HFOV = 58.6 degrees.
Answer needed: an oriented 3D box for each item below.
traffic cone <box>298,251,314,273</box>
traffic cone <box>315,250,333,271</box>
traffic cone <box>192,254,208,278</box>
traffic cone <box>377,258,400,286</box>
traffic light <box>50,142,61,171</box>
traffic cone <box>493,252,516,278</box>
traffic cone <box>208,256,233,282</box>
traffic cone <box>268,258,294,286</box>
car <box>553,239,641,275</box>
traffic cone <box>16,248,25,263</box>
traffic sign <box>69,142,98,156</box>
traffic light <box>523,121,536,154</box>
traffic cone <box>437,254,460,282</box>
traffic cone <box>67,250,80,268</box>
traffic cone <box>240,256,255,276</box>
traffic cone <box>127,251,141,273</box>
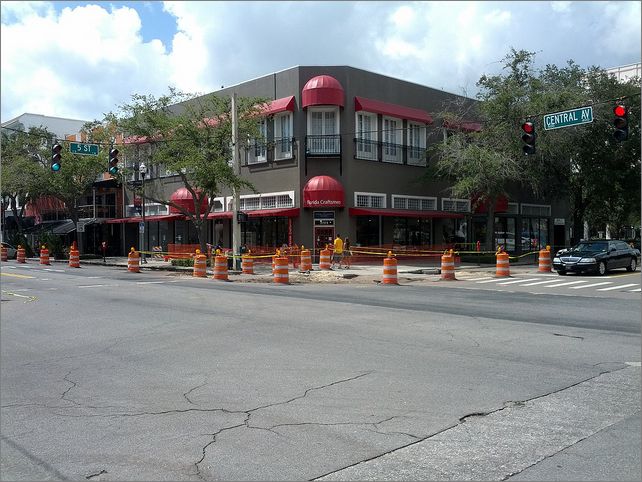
[{"bbox_3d":[-0.794,1.062,28.692,0.862,1.111,0.874,0,-3,-15],"label":"traffic cone"},{"bbox_3d":[0.202,0.964,29.212,0.781,1.125,0.871,-2,2,-12],"label":"traffic cone"},{"bbox_3d":[-5.581,1.175,26.552,0.754,1.017,0.513,2,3,38],"label":"traffic cone"},{"bbox_3d":[2.718,1.189,22.372,0.561,1.033,0.834,0,2,6],"label":"traffic cone"},{"bbox_3d":[-11.345,-3.596,24.456,0.331,1.176,1.195,-1,2,-28],"label":"traffic light"},{"bbox_3d":[8.294,1.060,25.581,0.864,1.005,0.905,1,0,3],"label":"traffic cone"},{"bbox_3d":[-4.336,1.192,24.968,0.868,1.056,0.914,1,-5,-4],"label":"traffic cone"},{"bbox_3d":[-1.557,1.214,23.031,0.632,1.074,0.736,0,2,-3],"label":"traffic cone"},{"bbox_3d":[12.920,0.773,26.621,4.575,1.543,1.481,-1,2,-33],"label":"car"},{"bbox_3d":[-20.678,1.047,39.309,0.312,0.836,1.005,-1,3,-39],"label":"traffic cone"},{"bbox_3d":[-10.782,-4.219,25.931,1.115,0.506,0.913,-1,2,-30],"label":"traffic sign"},{"bbox_3d":[7.374,-3.663,20.167,0.350,1.125,0.645,1,2,13],"label":"traffic light"},{"bbox_3d":[5.552,1.147,24.684,0.870,1.015,0.906,-2,1,6],"label":"traffic cone"},{"bbox_3d":[-14.699,1.117,34.047,1.004,1.243,1.037,0,0,-26],"label":"traffic cone"},{"bbox_3d":[-3.490,1.161,27.241,0.796,0.935,0.839,0,-1,-1],"label":"traffic cone"},{"bbox_3d":[-9.956,1.134,30.488,0.940,1.353,0.983,-2,1,-15],"label":"traffic cone"}]
